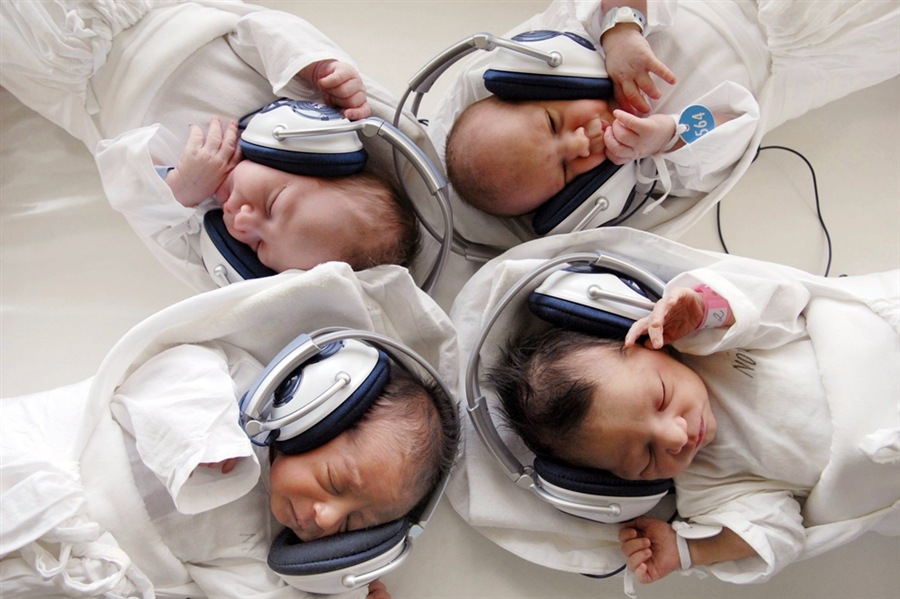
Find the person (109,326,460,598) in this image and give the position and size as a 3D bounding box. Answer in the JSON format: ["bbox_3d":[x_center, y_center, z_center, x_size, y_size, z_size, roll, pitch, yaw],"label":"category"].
[{"bbox_3d":[-0.387,0.382,2.086,0.756,0.688,0.327,1,8,-6],"label":"person"}]

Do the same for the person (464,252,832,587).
[{"bbox_3d":[0.536,0.308,2.236,0.909,0.870,0.262,-3,15,10],"label":"person"}]

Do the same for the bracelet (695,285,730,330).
[{"bbox_3d":[0.694,0.021,2.227,0.083,0.085,0.105,-12,24,-3],"label":"bracelet"}]

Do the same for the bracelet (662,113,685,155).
[{"bbox_3d":[0.635,-0.467,2.338,0.051,0.105,0.073,9,11,-10],"label":"bracelet"}]

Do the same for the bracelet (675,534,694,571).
[{"bbox_3d":[0.628,0.679,2.225,0.029,0.082,0.059,-9,19,12],"label":"bracelet"}]
